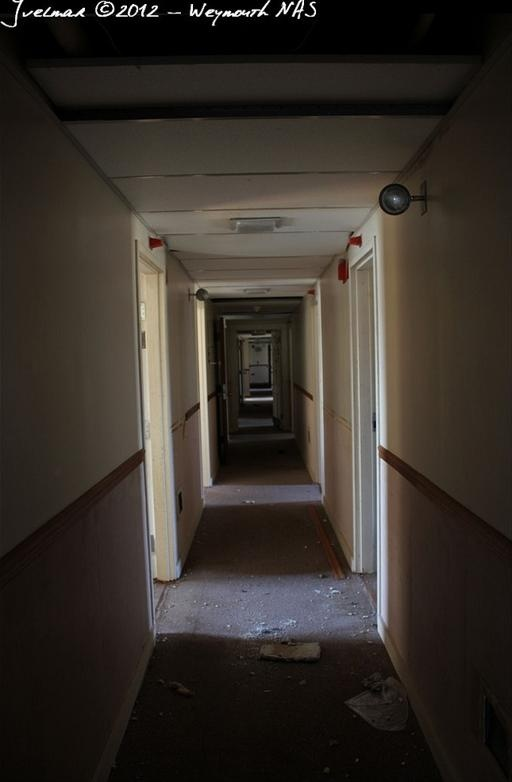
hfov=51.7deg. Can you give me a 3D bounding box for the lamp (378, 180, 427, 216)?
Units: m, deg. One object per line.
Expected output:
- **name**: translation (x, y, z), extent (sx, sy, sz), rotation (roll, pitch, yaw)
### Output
- **lamp**: translation (0.540, -0.709, 1.969), extent (0.143, 0.141, 0.083), rotation (-4, -5, 4)
